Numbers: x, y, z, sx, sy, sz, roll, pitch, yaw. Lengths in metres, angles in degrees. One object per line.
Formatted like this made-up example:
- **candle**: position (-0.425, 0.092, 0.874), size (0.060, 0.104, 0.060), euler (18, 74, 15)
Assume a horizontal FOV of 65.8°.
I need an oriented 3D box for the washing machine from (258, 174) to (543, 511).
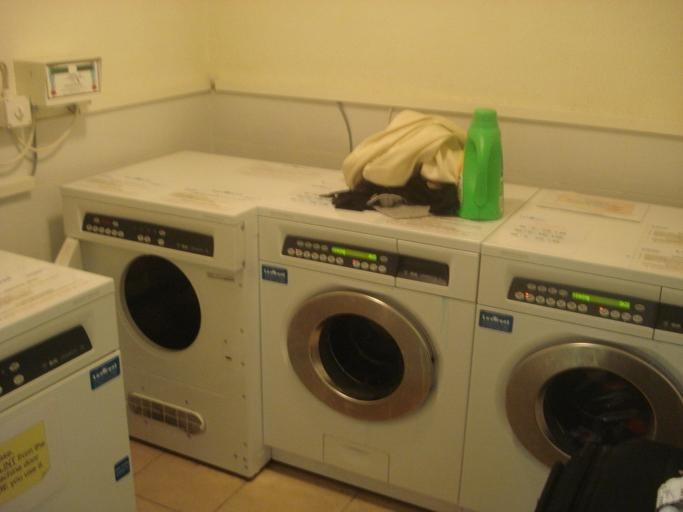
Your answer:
- **washing machine**: position (0.206, 0.273, 2.456), size (1.015, 1.306, 1.020), euler (12, 25, 28)
